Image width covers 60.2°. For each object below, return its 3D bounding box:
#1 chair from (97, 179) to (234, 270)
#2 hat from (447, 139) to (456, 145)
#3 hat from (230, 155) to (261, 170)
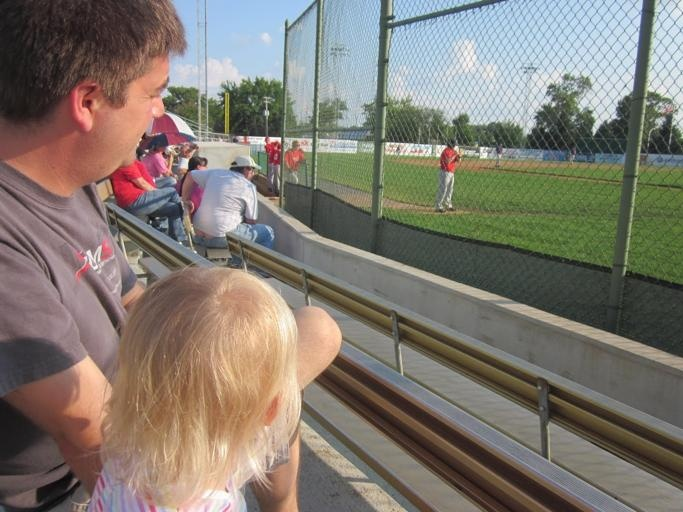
[{"bbox_3d":[-1.526,-0.318,5.297,0.785,0.517,0.309,43,52,9],"label":"chair"},{"bbox_3d":[0.959,-1.011,5.231,0.066,0.072,0.126,6,18,10],"label":"hat"},{"bbox_3d":[-1.210,-1.222,7.412,0.274,0.178,0.212,-5,14,-32],"label":"hat"}]
